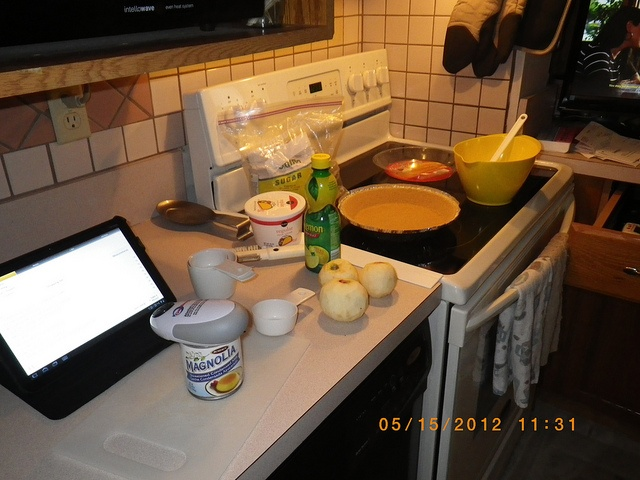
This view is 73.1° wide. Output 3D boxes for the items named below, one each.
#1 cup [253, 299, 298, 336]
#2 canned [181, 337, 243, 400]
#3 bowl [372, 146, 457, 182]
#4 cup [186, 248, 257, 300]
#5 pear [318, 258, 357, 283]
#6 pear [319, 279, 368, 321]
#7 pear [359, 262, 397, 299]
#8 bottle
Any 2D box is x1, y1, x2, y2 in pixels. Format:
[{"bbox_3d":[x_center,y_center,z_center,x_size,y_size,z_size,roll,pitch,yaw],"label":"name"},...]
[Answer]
[{"bbox_3d":[-0.091,0.151,0.852,0.071,0.033,0.073,1,30,0],"label":"cup"},{"bbox_3d":[-0.177,0.215,0.773,0.096,0.108,0.099,-1,19,-3],"label":"canned"},{"bbox_3d":[0.343,-0.272,1.550,0.203,0.065,0.210,0,24,0],"label":"bowl"},{"bbox_3d":[-0.196,0.071,0.897,0.090,0.090,0.159,-20,37,-38],"label":"cup"},{"bbox_3d":[0.037,0.064,0.925,0.055,0.056,0.056,7,32,15],"label":"pear"},{"bbox_3d":[0.050,0.107,0.887,0.094,0.073,0.095,-23,10,-9],"label":"pear"},{"bbox_3d":[0.128,0.082,0.958,0.075,0.072,0.072,-6,17,0],"label":"pear"},{"bbox_3d":[-0.004,-0.055,1.031,0.077,0.282,0.098,19,31,39],"label":"bottle"}]
